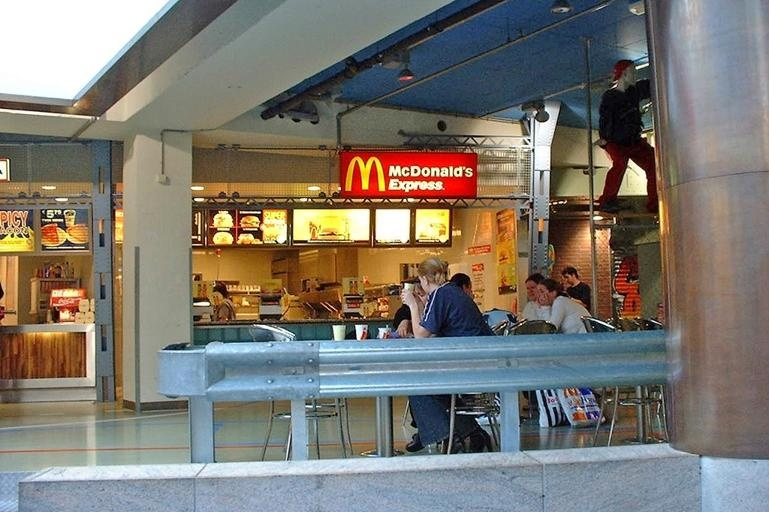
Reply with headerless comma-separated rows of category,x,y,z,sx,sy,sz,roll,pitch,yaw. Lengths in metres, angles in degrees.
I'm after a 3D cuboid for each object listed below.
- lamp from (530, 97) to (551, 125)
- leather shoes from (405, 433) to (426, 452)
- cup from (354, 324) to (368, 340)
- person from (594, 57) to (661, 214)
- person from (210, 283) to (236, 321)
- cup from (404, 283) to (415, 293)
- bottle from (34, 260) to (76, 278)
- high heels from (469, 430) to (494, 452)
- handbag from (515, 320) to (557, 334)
lamp,2.325,-2.190,10.723,0.216,0.367,0.319,-1,-2,13
leather shoes,0.247,1.547,5.922,0.113,0.134,0.314,3,-3,-3
cup,-0.209,0.706,6.718,0.102,0.129,0.236,-1,-1,-6
person,2.200,-1.117,6.570,0.499,1.398,0.464,-2,-2,17
person,-2.854,0.818,12.618,0.314,0.820,0.405,-3,-39,-6
cup,0.212,0.261,6.129,0.073,0.064,0.061,-6,-7,34
bottle,-6.672,0.311,14.796,0.454,0.220,0.584,1,-5,-12
high heels,0.763,1.449,5.663,0.183,0.177,0.210,-1,8,7
handbag,1.422,0.667,6.733,0.204,0.071,0.216,3,8,36
